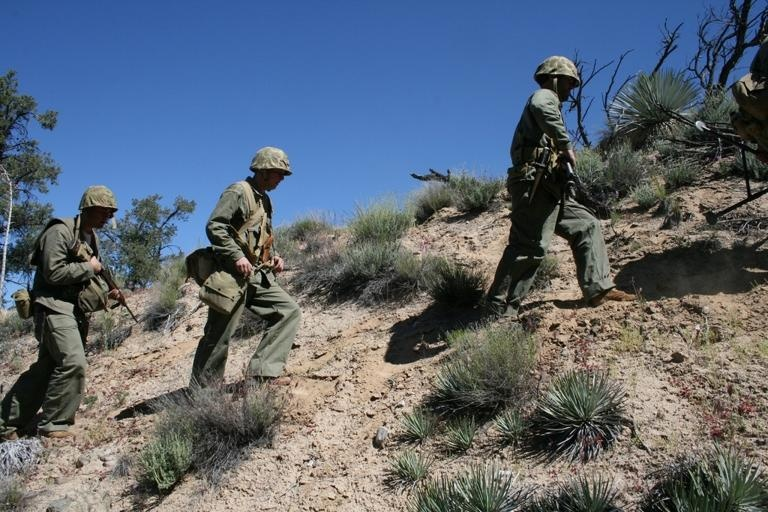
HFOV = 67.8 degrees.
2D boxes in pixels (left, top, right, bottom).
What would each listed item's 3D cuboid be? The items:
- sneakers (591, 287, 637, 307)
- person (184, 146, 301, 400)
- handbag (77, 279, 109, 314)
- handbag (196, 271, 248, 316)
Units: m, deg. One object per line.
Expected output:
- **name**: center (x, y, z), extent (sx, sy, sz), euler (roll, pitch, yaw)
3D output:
- **sneakers**: center (2.695, 0.470, 6.733), extent (0.536, 0.138, 0.245), euler (-11, 3, 20)
- **person**: center (-1.769, 0.154, 7.187), extent (1.442, 2.916, 0.675), euler (-11, 4, -23)
- **handbag**: center (-3.963, 0.524, 7.833), extent (0.321, 0.692, 0.546), euler (-2, -1, -20)
- **handbag**: center (-1.967, 0.437, 7.017), extent (0.477, 0.389, 0.273), euler (-27, -6, -25)
